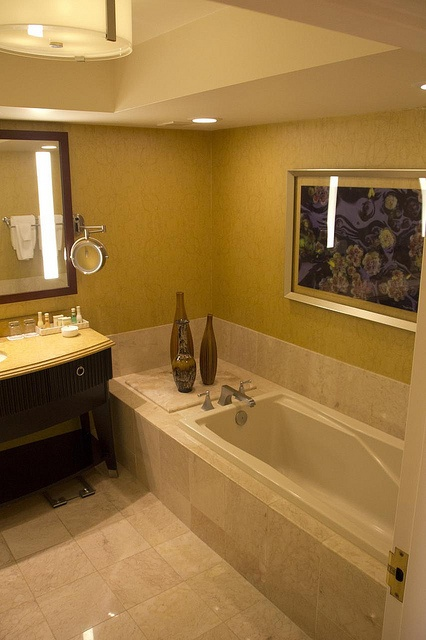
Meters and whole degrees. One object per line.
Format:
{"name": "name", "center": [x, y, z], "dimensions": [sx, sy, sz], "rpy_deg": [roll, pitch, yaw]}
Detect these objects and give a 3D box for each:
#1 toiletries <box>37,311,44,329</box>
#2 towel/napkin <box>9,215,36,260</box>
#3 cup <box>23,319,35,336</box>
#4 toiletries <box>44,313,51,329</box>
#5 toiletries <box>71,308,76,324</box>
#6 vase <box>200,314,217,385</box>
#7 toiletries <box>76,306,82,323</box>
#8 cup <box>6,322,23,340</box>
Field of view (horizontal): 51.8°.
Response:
{"name": "toiletries", "center": [-1.088, -0.004, 2.756], "dimensions": [0.038, 0.095, 0.102], "rpy_deg": [-5, 13, -21]}
{"name": "towel/napkin", "center": [-1.137, -0.494, 2.635], "dimensions": [0.149, 0.255, 0.024], "rpy_deg": [-9, 14, -33]}
{"name": "cup", "center": [-1.136, 0.042, 2.727], "dimensions": [0.077, 0.094, 0.068], "rpy_deg": [-10, 15, -37]}
{"name": "toiletries", "center": [-1.059, -0.003, 2.788], "dimensions": [0.031, 0.086, 0.097], "rpy_deg": [-5, 13, -18]}
{"name": "toiletries", "center": [-0.906, -0.027, 2.857], "dimensions": [0.038, 0.099, 0.091], "rpy_deg": [-4, 13, -17]}
{"name": "vase", "center": [-0.037, 0.191, 3.032], "dimensions": [0.107, 0.494, 0.203], "rpy_deg": [-1, 12, -2]}
{"name": "toiletries", "center": [-0.879, -0.041, 2.869], "dimensions": [0.038, 0.100, 0.073], "rpy_deg": [-5, 13, -19]}
{"name": "cup", "center": [-1.206, 0.058, 2.667], "dimensions": [0.092, 0.097, 0.097], "rpy_deg": [-1, 12, 0]}
